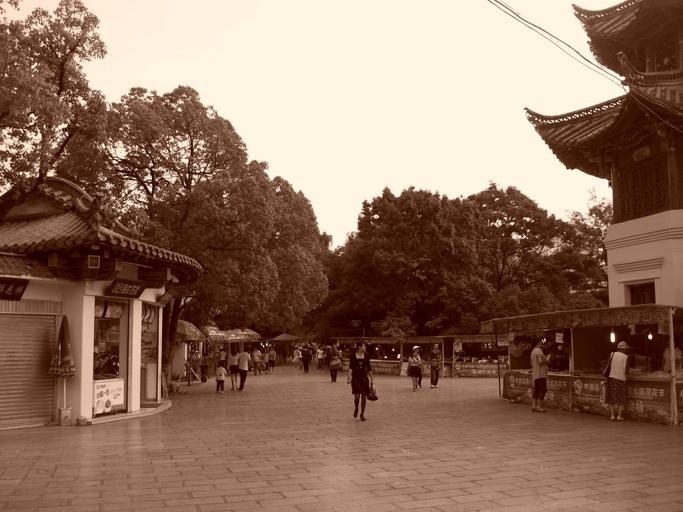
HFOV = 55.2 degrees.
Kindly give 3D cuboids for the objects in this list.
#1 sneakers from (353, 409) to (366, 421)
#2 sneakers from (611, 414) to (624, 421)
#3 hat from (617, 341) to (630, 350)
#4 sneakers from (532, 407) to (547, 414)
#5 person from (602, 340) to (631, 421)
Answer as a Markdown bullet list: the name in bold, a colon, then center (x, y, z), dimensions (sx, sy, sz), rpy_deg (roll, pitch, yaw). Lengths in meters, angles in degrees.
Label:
- **sneakers**: center (0.534, 4.589, 18.692), dimensions (0.164, 0.251, 0.514), rpy_deg (8, -20, -32)
- **sneakers**: center (7.811, 4.552, 18.426), dimensions (0.373, 0.184, 0.133), rpy_deg (-17, -20, 19)
- **hat**: center (8.197, 2.586, 18.970), dimensions (0.394, 0.246, 0.545), rpy_deg (0, -4, 5)
- **sneakers**: center (6.237, 4.823, 20.485), dimensions (0.339, 0.142, 0.186), rpy_deg (-3, -7, 4)
- **person**: center (7.868, 3.673, 18.549), dimensions (0.616, 1.897, 0.467), rpy_deg (-3, -11, 24)
